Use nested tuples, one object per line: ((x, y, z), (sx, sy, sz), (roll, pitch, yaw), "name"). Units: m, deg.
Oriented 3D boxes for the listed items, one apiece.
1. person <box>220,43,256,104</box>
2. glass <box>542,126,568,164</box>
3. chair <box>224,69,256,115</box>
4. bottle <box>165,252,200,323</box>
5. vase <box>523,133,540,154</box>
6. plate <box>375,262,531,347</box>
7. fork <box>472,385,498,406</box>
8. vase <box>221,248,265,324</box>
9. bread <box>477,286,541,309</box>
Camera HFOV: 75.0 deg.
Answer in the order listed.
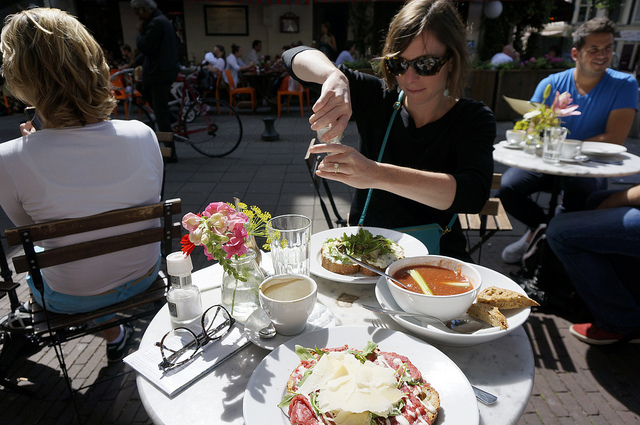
((-2.667, -4.519, 12.875), (0.919, 2.362, 0.890), (18, 27, 34), "person")
((2.255, -0.648, 4.024), (0.202, 0.309, 0.285), (10, 31, 19), "glass")
((-2.266, -3.527, 12.219), (0.992, 1.352, 0.831), (-1, 10, -3), "chair")
((-0.699, 0.391, 2.211), (0.143, 0.354, 0.172), (-9, 19, -39), "bottle")
((2.239, -0.740, 4.423), (0.132, 0.202, 0.108), (13, 32, 24), "vase")
((0.687, 0.507, 2.500), (0.950, 0.387, 0.869), (1, 12, 4), "plate")
((0.753, 0.841, 1.934), (0.043, 0.023, 0.160), (-13, 21, -18), "fork")
((-0.407, 0.413, 2.298), (0.189, 0.396, 0.226), (-5, 16, -28), "vase")
((0.980, 0.447, 2.183), (0.282, 0.080, 0.127), (9, 27, 17), "bread")
